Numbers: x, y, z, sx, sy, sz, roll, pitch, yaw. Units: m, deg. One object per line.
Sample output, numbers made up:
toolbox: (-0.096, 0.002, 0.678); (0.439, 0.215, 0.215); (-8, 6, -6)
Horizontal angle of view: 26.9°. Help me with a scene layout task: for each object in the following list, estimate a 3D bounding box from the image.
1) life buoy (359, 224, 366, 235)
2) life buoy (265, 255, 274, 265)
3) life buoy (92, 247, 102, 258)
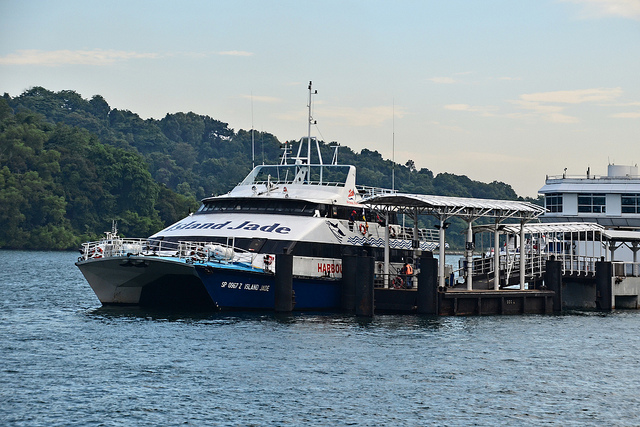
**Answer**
life buoy: (2.832, 1.006, 90.062); (0.188, 0.672, 0.536); (1, -2, 40)
life buoy: (-3.243, 2.877, 85.435); (0.703, 0.552, 0.156); (3, -2, -3)
life buoy: (-14.014, 2.445, 85.227); (0.592, 0.657, 0.258); (1, -4, 12)
